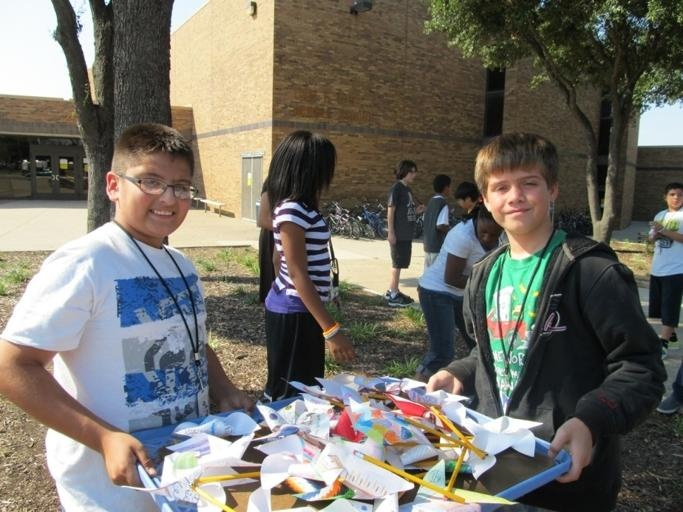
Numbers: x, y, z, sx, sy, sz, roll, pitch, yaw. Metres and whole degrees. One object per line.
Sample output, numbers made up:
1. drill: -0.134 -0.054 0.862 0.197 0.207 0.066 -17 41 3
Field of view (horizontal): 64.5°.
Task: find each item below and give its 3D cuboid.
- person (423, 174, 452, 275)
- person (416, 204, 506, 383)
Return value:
1. person: 1.349 -0.409 7.198 0.373 1.193 0.417 2 8 -3
2. person: 0.989 0.367 4.475 0.605 1.721 0.543 7 19 13
